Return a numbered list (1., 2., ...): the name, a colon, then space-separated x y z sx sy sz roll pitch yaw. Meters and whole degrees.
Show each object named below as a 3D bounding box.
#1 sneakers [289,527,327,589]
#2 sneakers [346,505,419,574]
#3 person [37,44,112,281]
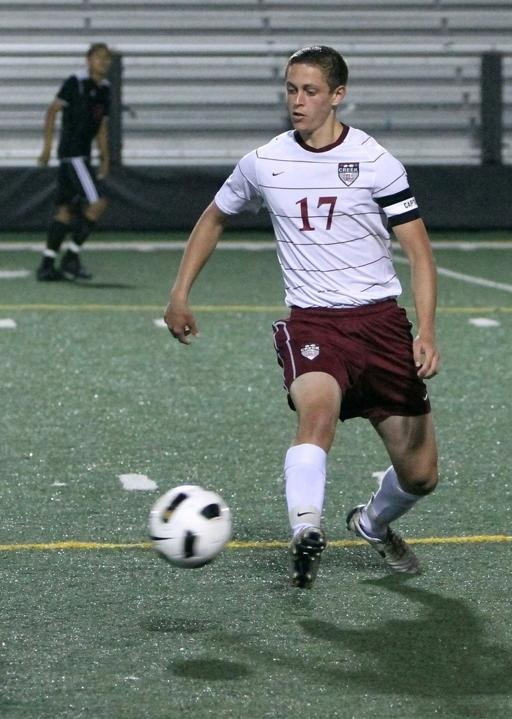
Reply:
1. sneakers: 0.103 0.428 1.983 0.072 0.171 0.111 -2 13 -7
2. sneakers: 0.342 0.538 2.826 0.301 0.099 0.137 35 -10 8
3. person: -1.539 -1.605 7.811 0.669 1.936 0.589 -3 14 -12
